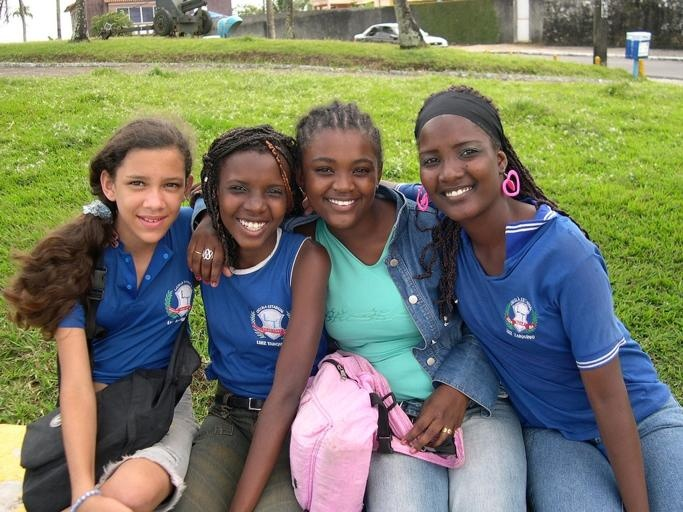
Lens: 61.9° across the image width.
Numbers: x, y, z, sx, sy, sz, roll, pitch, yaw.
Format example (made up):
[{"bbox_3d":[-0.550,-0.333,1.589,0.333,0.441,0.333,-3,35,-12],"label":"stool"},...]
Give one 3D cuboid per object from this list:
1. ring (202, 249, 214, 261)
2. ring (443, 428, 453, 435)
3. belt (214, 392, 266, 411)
[{"bbox_3d":[-0.765,-0.006,3.264,0.058,0.062,0.016,8,-6,21],"label":"ring"},{"bbox_3d":[0.600,0.984,3.201,0.039,0.017,0.039,13,1,0],"label":"ring"},{"bbox_3d":[-0.602,0.870,3.385,0.178,0.059,0.137,14,-9,-15],"label":"belt"}]
